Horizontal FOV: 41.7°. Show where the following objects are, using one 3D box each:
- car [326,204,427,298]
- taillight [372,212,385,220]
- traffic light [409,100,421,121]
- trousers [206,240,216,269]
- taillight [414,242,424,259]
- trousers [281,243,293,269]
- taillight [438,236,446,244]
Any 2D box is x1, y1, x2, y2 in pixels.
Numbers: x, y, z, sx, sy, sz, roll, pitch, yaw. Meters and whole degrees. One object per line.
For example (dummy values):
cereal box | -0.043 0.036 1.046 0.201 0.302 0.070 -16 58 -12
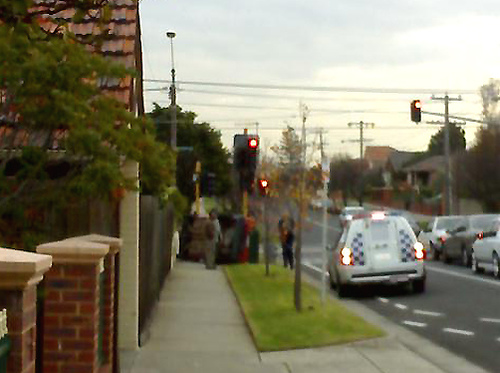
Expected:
car | 2.966 1.558 16.483 1.508 1.558 2.682 -1 2 -2
taillight | 3.041 0.694 15.558 0.314 0.178 0.299 0 1 7
traffic light | 7.726 -3.533 30.636 0.409 0.926 0.591 0 1 7
trousers | -1.209 2.082 20.280 0.307 0.919 0.474 0 1 -5
taillight | 3.935 1.504 15.337 0.307 0.602 0.060 -1 1 -2
trousers | 1.187 2.210 20.793 0.345 0.810 0.820 0 1 3
taillight | 7.463 2.070 25.455 0.234 0.184 0.242 -1 1 -32
